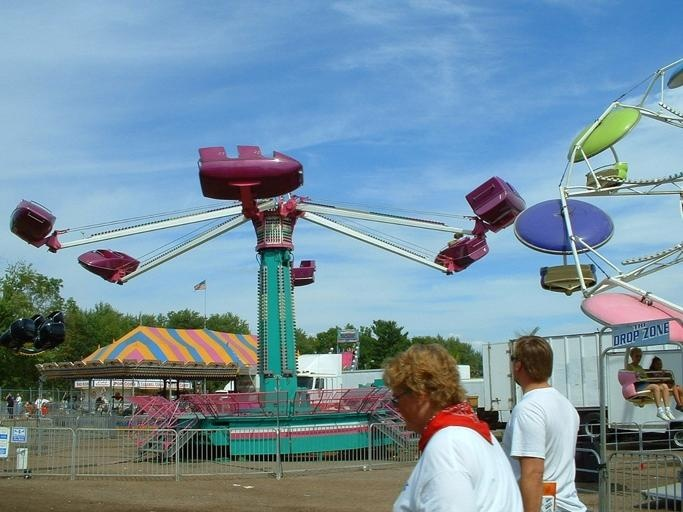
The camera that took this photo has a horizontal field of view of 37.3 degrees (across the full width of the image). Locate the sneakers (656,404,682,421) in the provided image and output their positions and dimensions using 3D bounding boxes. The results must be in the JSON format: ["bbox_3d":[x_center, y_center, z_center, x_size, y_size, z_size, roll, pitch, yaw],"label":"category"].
[{"bbox_3d":[7.480,3.567,23.038,0.232,0.229,0.607,-19,-7,-13],"label":"sneakers"}]
